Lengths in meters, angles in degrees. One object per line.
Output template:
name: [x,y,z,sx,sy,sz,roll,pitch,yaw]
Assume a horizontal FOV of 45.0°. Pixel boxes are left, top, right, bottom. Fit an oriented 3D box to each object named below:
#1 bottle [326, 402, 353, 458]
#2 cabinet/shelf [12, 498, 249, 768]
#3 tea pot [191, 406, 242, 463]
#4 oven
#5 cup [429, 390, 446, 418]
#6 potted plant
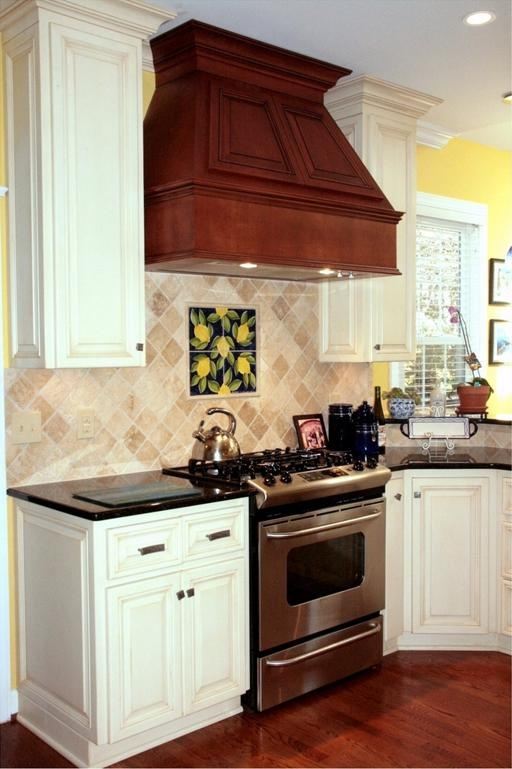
bottle: [0.424,0.225,3.117,0.186,0.335,0.191,-1,1,0]
cabinet/shelf: [-0.453,0.788,2.137,0.664,0.782,0.703,-3,-5,38]
tea pot: [-0.147,0.210,2.579,0.226,0.234,0.207,0,-4,0]
oven: [0.157,0.810,2.604,0.640,0.772,0.533,-2,4,-33]
cup: [0.979,0.096,3.330,0.064,0.151,0.081,0,-4,8]
potted plant: [1.046,0.102,3.754,0.569,0.225,0.863,0,-4,6]
